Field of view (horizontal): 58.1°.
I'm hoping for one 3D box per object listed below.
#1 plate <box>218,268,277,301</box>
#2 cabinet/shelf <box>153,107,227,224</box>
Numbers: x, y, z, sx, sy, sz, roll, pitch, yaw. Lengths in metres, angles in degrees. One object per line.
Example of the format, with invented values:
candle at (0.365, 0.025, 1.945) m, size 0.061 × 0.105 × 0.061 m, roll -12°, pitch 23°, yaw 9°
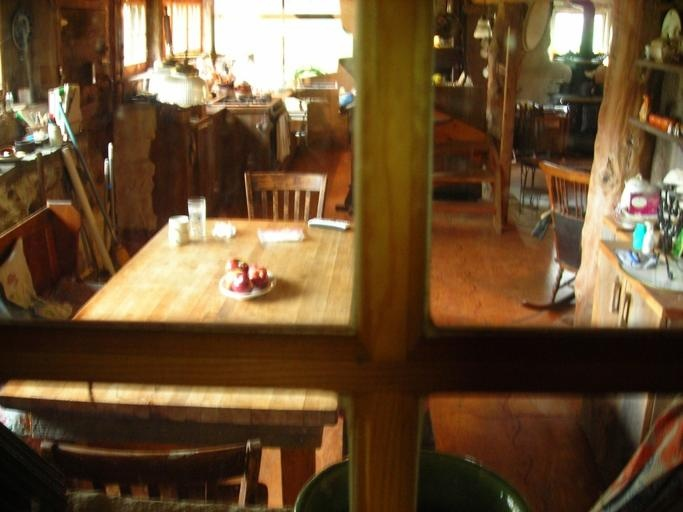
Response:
plate at (-0.361, 0.069, 2.305) m, size 0.182 × 0.100 × 0.196 m, roll 6°, pitch 21°, yaw 14°
cabinet/shelf at (-1.484, -0.875, 5.841) m, size 0.422 × 0.983 × 1.176 m, roll 0°, pitch 19°, yaw -3°
